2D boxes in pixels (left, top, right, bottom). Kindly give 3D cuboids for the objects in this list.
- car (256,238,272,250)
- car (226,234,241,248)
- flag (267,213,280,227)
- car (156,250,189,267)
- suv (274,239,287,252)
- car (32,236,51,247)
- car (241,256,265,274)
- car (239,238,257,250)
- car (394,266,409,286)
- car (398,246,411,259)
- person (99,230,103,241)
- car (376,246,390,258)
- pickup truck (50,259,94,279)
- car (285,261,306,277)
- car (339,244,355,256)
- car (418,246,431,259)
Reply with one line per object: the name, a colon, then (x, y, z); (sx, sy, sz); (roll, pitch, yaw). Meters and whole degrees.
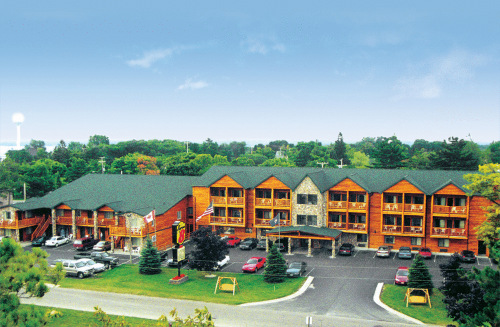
car: (2.582, 14.821, 107.148); (2.792, 2.066, 4.136); (4, -9, -26)
car: (-3.048, 14.575, 109.733); (1.564, 2.027, 3.925); (-2, -8, 20)
flag: (4.192, 10.205, 105.092); (2.989, 0.407, 3.732); (8, -48, 15)
car: (-13.119, 16.031, 97.931); (3.808, 0.936, 3.376); (1, 2, 28)
suv: (5.770, 14.844, 106.693); (1.898, 2.220, 3.230); (0, -8, 5)
car: (-39.308, 14.434, 108.668); (2.930, 2.002, 1.796); (6, -9, -33)
car: (0.562, 16.890, 97.174); (2.112, 2.489, 4.266); (-6, -10, 40)
car: (-0.420, 14.889, 107.984); (2.044, 2.168, 3.461); (-5, -9, 36)
car: (23.507, 17.621, 90.554); (1.888, 2.409, 3.158); (-2, -8, 17)
car: (26.985, 15.468, 101.101); (2.463, 2.157, 1.885); (5, -9, -33)
person: (-27.910, 13.436, 109.337); (0.771, 1.640, 0.232); (2, -8, -11)
car: (23.283, 15.376, 101.839); (2.376, 1.942, 1.685); (-1, -8, 9)
pickup truck: (-29.717, 17.430, 94.835); (7.486, 2.486, 3.867); (0, 3, 20)
car: (7.550, 17.168, 94.778); (2.152, 2.484, 3.931); (-6, -10, 41)
car: (17.201, 15.263, 103.707); (2.792, 2.060, 1.861); (6, -10, -37)
car: (30.437, 15.497, 100.723); (1.704, 1.984, 3.704); (-5, -9, 35)
